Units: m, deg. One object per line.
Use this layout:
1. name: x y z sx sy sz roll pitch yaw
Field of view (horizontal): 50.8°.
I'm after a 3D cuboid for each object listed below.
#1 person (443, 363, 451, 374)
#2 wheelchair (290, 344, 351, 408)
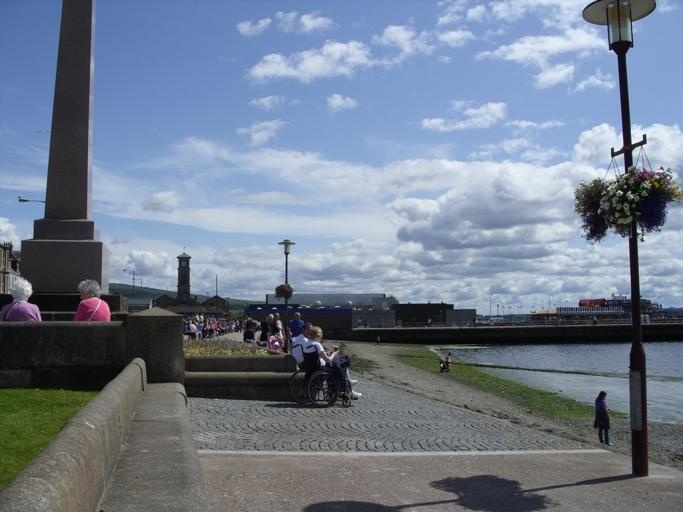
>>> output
1. person: 5.428 5.752 36.678 0.344 0.422 1.096 -1 -5 12
2. wheelchair: -0.492 2.601 16.160 1.141 1.390 1.135 5 2 -12
